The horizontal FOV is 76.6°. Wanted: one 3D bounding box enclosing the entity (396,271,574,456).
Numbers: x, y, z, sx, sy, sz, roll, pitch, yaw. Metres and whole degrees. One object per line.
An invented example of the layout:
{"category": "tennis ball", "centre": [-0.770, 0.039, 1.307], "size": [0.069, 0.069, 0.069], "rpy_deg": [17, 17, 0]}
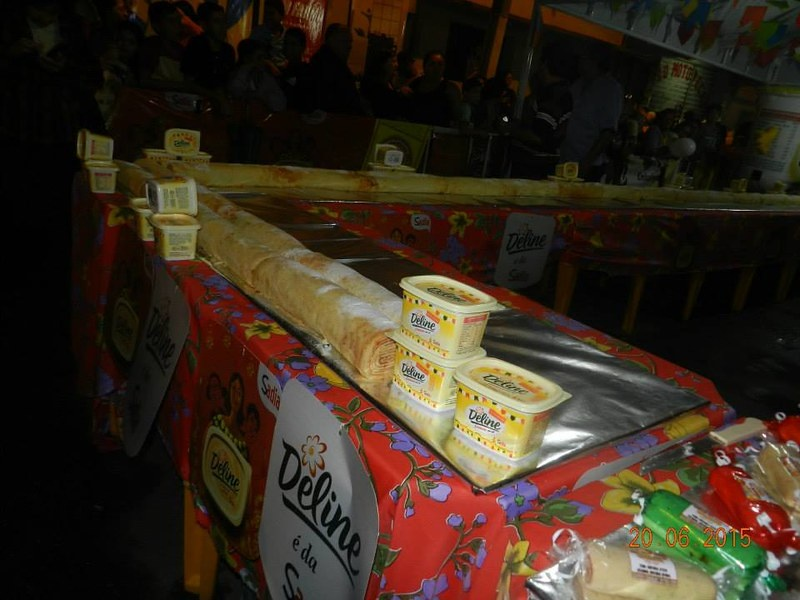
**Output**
{"category": "entity", "centre": [0.200, 0.162, 1.235], "size": [0.176, 0.242, 0.399], "rpy_deg": [-15, 34, -36]}

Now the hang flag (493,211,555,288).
{"category": "hang flag", "centre": [0.885, -0.397, 3.709], "size": [0.652, 0.673, 0.029], "rpy_deg": [-10, 37, -29]}

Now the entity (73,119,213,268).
{"category": "entity", "centre": [-1.326, -0.545, 2.551], "size": [0.617, 0.413, 1.371], "rpy_deg": [-9, 31, -26]}
